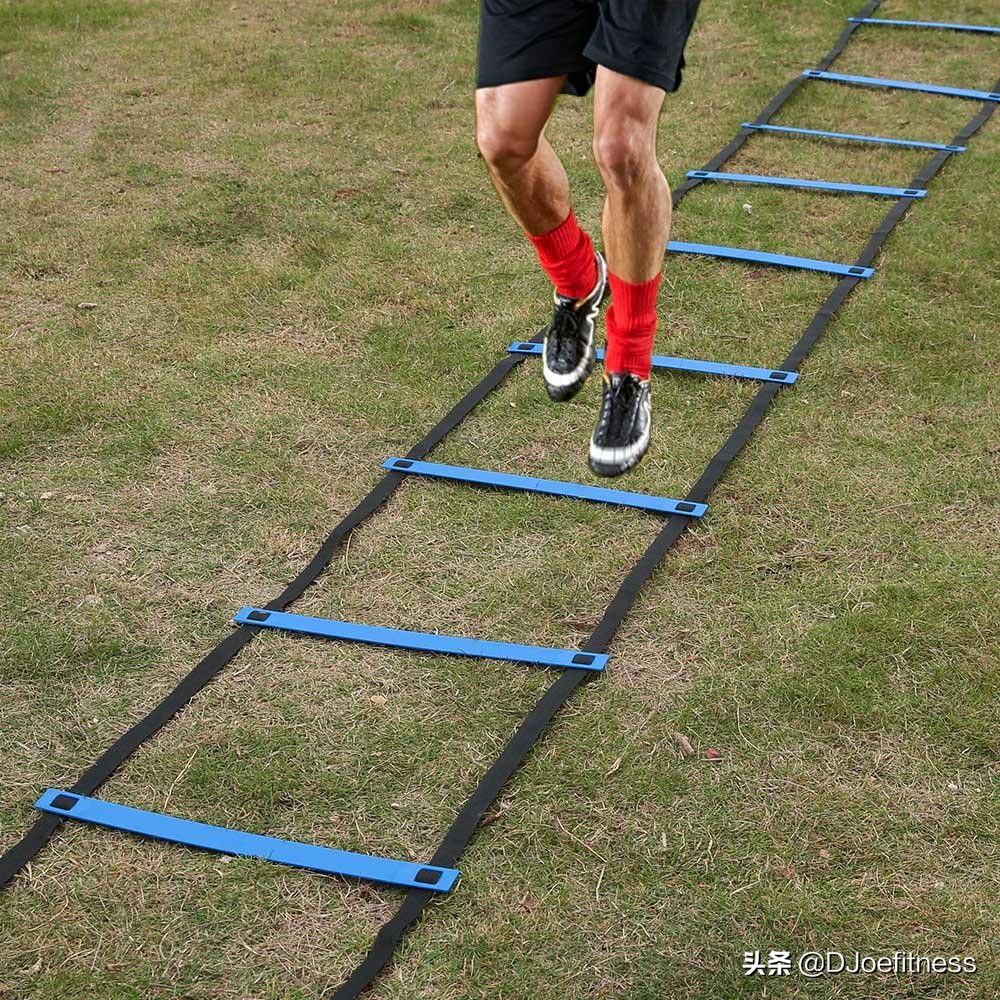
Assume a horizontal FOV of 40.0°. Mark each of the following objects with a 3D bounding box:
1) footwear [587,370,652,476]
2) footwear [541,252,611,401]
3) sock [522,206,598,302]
[{"bbox_3d":[0.367,-0.227,4.156,0.167,0.146,0.340,8,47,14],"label":"footwear"},{"bbox_3d":[0.248,-0.543,4.365,0.208,0.447,0.220,16,8,20],"label":"footwear"},{"bbox_3d":[0.124,-0.729,4.238,0.142,0.331,0.246,-27,25,4],"label":"sock"}]
